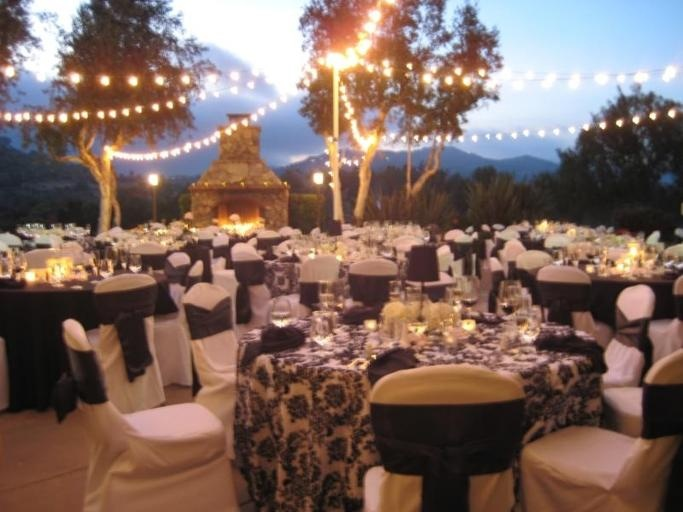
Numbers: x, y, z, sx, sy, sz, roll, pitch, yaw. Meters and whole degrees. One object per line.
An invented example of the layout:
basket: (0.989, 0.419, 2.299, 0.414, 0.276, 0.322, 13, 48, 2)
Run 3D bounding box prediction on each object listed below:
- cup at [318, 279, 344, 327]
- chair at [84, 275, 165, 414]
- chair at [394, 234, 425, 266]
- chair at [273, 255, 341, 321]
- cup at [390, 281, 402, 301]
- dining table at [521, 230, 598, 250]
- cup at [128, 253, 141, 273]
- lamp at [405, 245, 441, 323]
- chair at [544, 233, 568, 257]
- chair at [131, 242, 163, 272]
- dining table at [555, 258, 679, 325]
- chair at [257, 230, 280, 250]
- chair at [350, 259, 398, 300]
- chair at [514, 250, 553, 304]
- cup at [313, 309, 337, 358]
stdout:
cup: (-0.085, 0.329, 4.089, 0.166, 0.320, 0.181, 1, 9, 0)
chair: (-2.037, 0.680, 4.977, 0.671, 1.397, 0.790, -14, 28, -36)
chair: (0.978, -0.187, 8.088, 0.519, 0.382, 0.576, -7, 13, -16)
chair: (-0.372, 0.326, 5.830, 0.708, 0.891, 0.549, 5, 1, 35)
cup: (0.404, 0.262, 4.004, 0.085, 0.153, 0.160, 1, 6, 11)
dining table: (3.416, -0.243, 8.475, 0.675, 0.194, 0.784, -3, 2, 2)
cup: (-2.233, 0.078, 5.695, 0.116, 0.214, 0.235, -3, 7, -25)
lamp: (0.575, 0.178, 3.749, 0.217, 0.533, 0.293, 1, 7, 11)
chair: (3.230, -0.180, 7.865, 0.447, 0.336, 0.568, -1, 9, 14)
chair: (-2.514, -0.016, 6.928, 0.428, 0.320, 0.441, 0, 5, -23)
dining table: (3.075, 0.399, 5.620, 0.692, 0.757, 0.721, 0, 6, 22)
chair: (-1.369, -0.312, 9.823, 0.335, 0.242, 0.357, 1, 10, 2)
chair: (0.346, 0.246, 5.579, 0.414, 0.336, 0.423, 1, -2, -36)
chair: (2.264, 0.255, 6.444, 0.444, 0.708, 0.413, 1, 10, -2)
cup: (-0.123, 0.507, 3.660, 0.198, 0.318, 0.209, 0, 4, 0)
